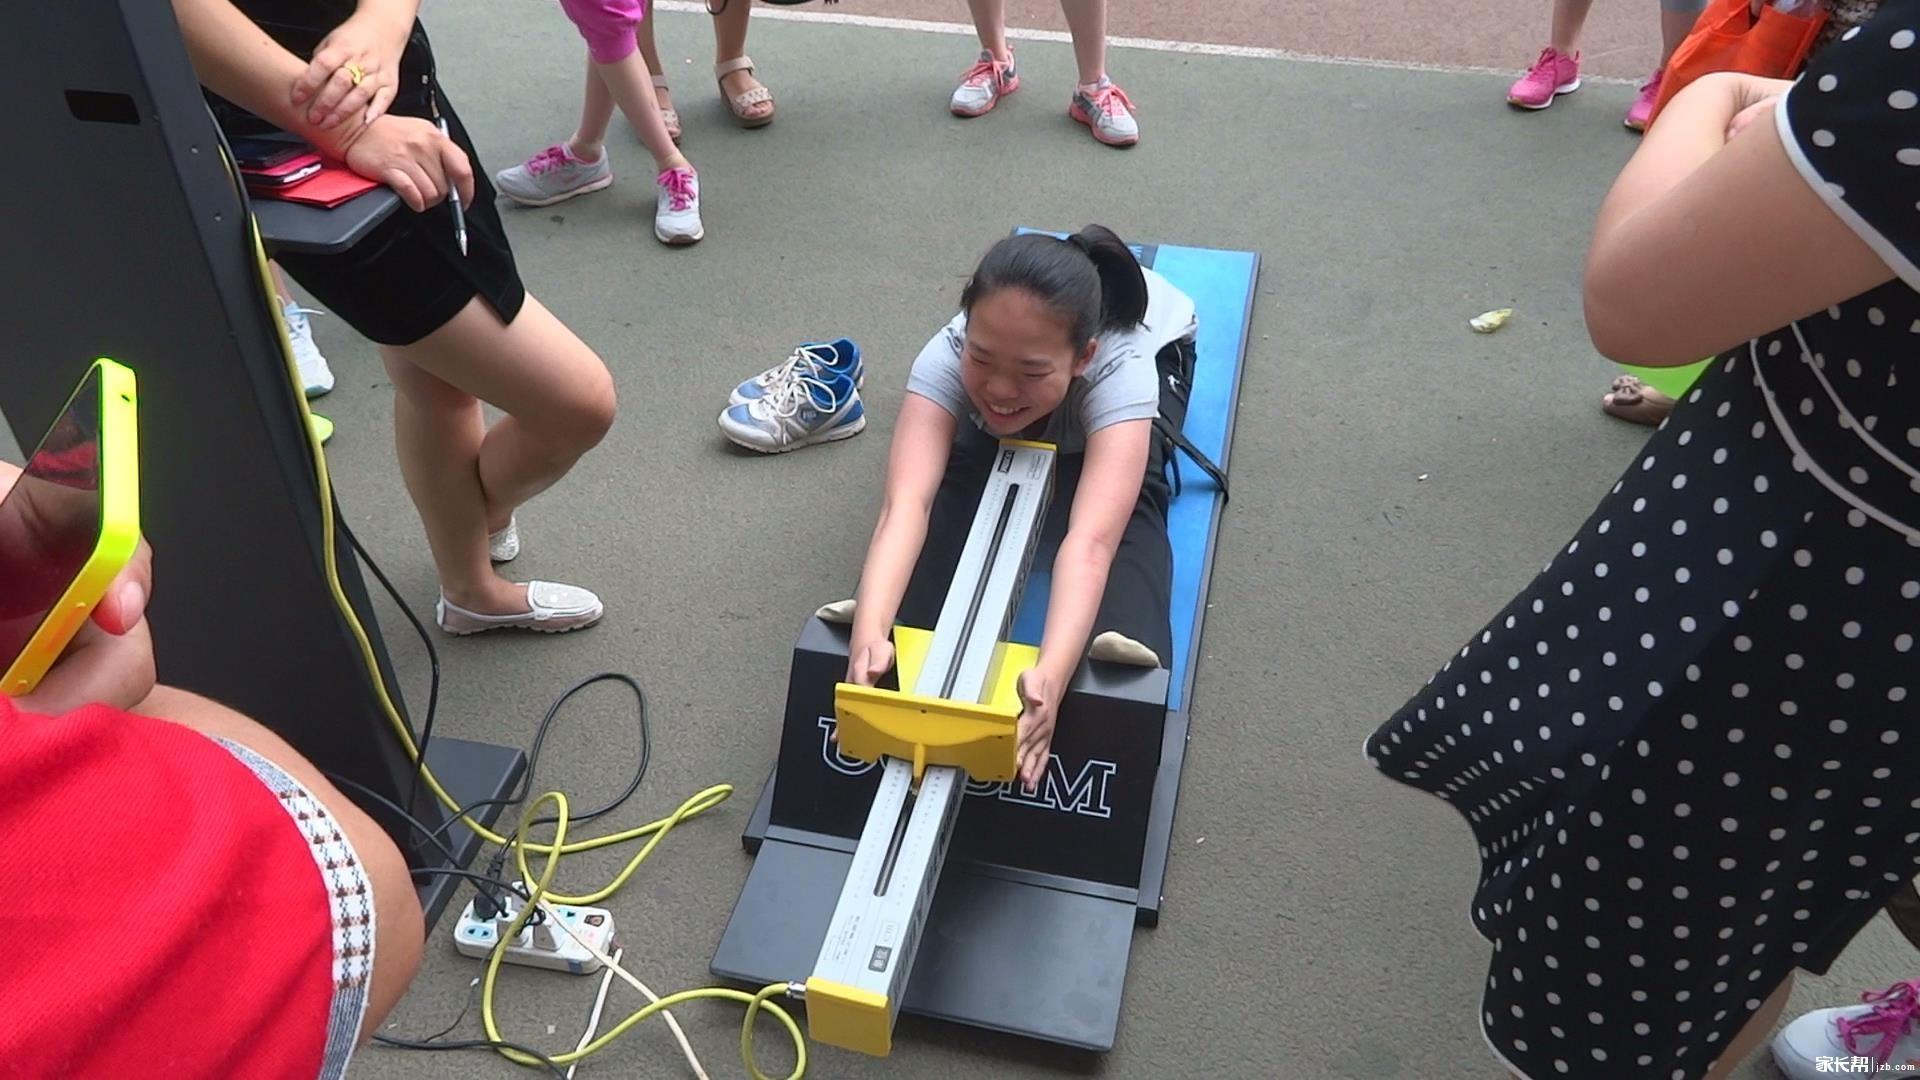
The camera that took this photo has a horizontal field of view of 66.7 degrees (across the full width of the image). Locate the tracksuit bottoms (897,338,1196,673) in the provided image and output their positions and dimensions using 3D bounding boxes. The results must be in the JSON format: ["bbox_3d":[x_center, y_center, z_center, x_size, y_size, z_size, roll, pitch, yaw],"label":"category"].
[{"bbox_3d":[0.309,-0.075,3.167,0.451,0.192,0.817,6,56,17],"label":"tracksuit bottoms"}]

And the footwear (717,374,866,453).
[{"bbox_3d":[-0.417,-0.298,3.599,0.334,0.154,0.170,-10,66,-8],"label":"footwear"}]

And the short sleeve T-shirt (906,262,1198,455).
[{"bbox_3d":[0.357,-0.405,3.253,0.437,0.178,0.592,13,44,28],"label":"short sleeve T-shirt"}]

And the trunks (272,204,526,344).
[{"bbox_3d":[-1.011,-0.422,2.654,0.372,0.120,0.273,40,23,26],"label":"trunks"}]

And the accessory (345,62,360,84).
[{"bbox_3d":[-0.997,-0.767,2.387,0.024,0.010,0.034,-13,72,-34],"label":"accessory"}]
